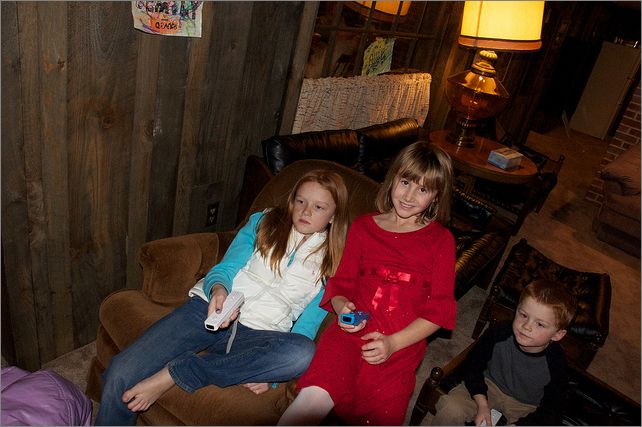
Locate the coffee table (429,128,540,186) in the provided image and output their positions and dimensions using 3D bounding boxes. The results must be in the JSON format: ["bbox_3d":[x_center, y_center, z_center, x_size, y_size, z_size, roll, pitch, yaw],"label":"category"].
[{"bbox_3d":[1.538,-0.538,3.757,0.739,0.329,0.737,32,36,16],"label":"coffee table"}]

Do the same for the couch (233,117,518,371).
[{"bbox_3d":[0.462,0.083,3.241,2.265,1.379,1.550,-18,44,-44],"label":"couch"}]
